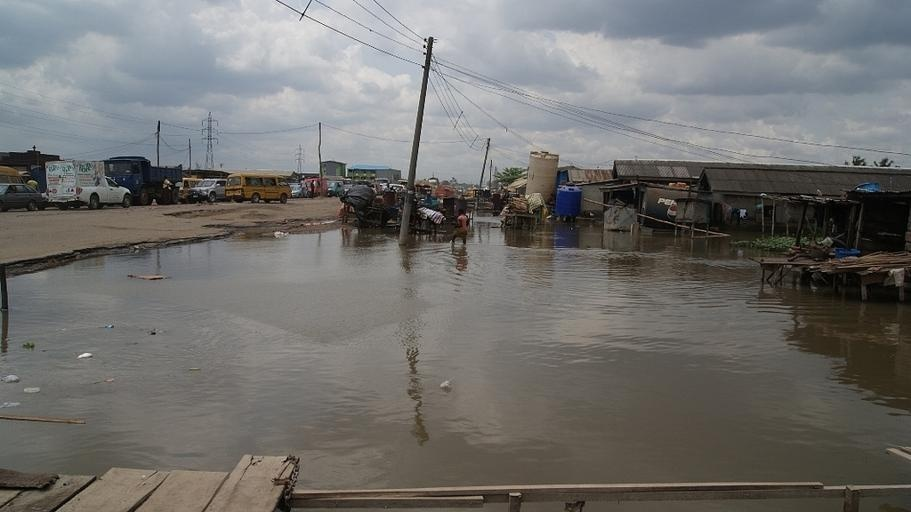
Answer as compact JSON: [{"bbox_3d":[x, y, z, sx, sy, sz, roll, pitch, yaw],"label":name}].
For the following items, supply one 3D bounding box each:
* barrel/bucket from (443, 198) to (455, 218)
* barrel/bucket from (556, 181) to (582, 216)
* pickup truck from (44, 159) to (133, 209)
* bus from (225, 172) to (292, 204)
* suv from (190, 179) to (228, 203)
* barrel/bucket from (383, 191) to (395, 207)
[{"bbox_3d":[-0.396,-2.841,35.397,0.493,1.098,1.210,3,6,12],"label":"barrel/bucket"},{"bbox_3d":[8.253,-3.965,43.952,1.622,2.318,1.882,6,8,39],"label":"barrel/bucket"},{"bbox_3d":[-20.780,-4.062,34.735,1.619,2.557,4.181,4,6,25],"label":"pickup truck"},{"bbox_3d":[-15.126,-5.198,46.660,2.435,1.614,4.323,0,1,38],"label":"bus"},{"bbox_3d":[-18.303,-4.907,45.021,1.635,1.055,2.529,0,1,12],"label":"suv"},{"bbox_3d":[-3.545,-3.114,32.740,0.664,0.811,0.591,0,6,-12],"label":"barrel/bucket"}]
